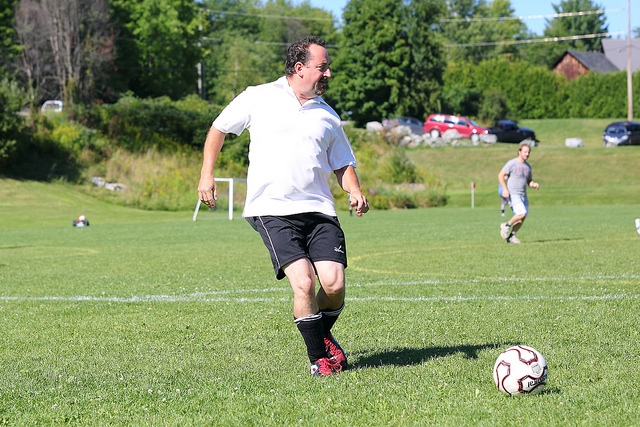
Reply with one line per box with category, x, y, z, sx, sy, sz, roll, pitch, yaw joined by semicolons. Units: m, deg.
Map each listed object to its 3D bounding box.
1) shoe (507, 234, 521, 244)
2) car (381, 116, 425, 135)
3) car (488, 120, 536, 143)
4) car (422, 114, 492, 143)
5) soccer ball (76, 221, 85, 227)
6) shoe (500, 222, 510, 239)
shoe;6.941;0.896;36.312;0.585;0.267;0.213;-4;10;-40
car;5.458;-5.542;65.939;3.018;1.114;1.421;-4;6;-26
car;12.291;-4.944;64.871;2.926;1.496;1.787;-2;8;0
car;8.695;-5.504;64.297;3.738;1.515;1.870;2;6;8
soccer ball;-10.013;0.414;42.753;0.334;0.182;0.383;-2;15;-14
shoe;6.573;0.631;36.272;0.252;0.646;0.244;-1;14;19
